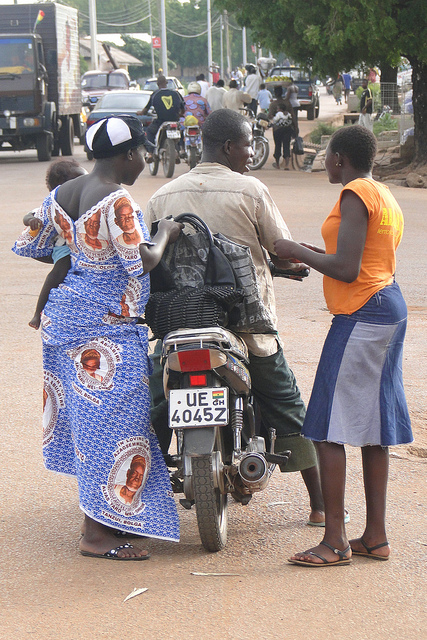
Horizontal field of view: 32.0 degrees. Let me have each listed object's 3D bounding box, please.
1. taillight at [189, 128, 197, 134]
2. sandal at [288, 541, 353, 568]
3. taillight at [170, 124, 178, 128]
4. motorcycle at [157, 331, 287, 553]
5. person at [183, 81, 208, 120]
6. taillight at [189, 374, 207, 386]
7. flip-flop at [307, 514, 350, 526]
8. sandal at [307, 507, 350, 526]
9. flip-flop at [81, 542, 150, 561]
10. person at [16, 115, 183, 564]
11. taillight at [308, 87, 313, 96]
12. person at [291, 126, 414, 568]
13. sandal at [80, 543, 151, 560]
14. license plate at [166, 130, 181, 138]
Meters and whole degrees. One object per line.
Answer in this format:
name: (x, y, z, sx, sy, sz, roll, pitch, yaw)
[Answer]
taillight: (-0.461, -4.176, 16.370, 0.171, 0.136, 0.114, 0, -3, -1)
sandal: (0.378, 0.819, 2.590, 0.151, 0.065, 0.251, -1, 9, 24)
taillight: (-0.887, -4.264, 16.256, 0.119, 0.093, 0.026, -1, 1, -8)
motorcycle: (0.042, 0.445, 2.752, 0.470, 0.854, 0.546, -2, 7, -3)
person: (-0.399, -5.215, 17.690, 0.817, 0.767, 1.399, 0, 22, 4)
taillight: (-0.053, 0.204, 2.531, 0.063, 0.035, 0.015, -3, -5, 3)
flip-flop: (0.453, 0.814, 2.998, 0.198, 0.049, 0.066, -1, 1, -5)
sandal: (0.468, 0.790, 2.975, 0.186, 0.055, 0.068, -2, 3, 4)
flip-flop: (-0.352, 0.822, 2.690, 0.214, 0.041, 0.074, -1, 0, 18)
person: (-0.419, 0.023, 2.733, 0.633, 1.499, 0.417, 0, 8, 17)
taillight: (4.630, -10.920, 35.504, 0.118, 0.404, 0.354, 2, 7, 30)
person: (0.499, 0.079, 2.652, 0.400, 1.555, 0.479, 0, 8, 14)
sandal: (-0.357, 0.823, 2.689, 0.216, 0.040, 0.074, -2, -3, 15)
license plate: (-0.879, -4.066, 16.198, 0.287, 0.202, 0.292, -2, 6, -9)
